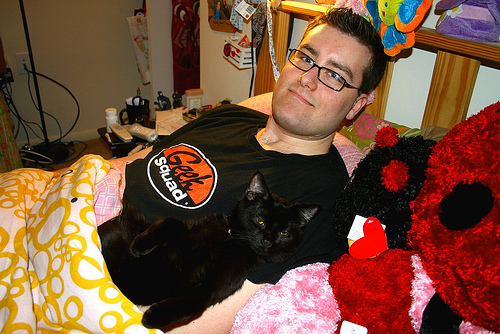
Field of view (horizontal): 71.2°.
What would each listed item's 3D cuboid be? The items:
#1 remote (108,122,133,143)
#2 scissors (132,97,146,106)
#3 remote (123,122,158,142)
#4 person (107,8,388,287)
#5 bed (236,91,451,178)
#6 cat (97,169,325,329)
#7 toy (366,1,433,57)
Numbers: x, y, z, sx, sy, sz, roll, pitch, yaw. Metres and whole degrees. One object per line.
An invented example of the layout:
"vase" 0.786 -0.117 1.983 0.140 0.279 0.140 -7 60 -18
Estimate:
"remote" -0.984 -0.290 2.630 0.094 0.066 0.316 -19 46 -24
"scissors" -0.893 -0.515 2.791 0.061 0.081 0.084 2 -3 -26
"remote" -0.820 -0.279 2.571 0.188 0.107 0.047 13 0 16
"person" 0.155 -0.048 1.649 0.954 0.461 1.274 33 54 26
"bed" 0.533 -0.157 1.699 0.606 0.162 0.547 -23 44 -36
"cat" -0.200 0.412 1.411 1.065 0.412 0.581 -5 45 15
"toy" 0.587 -0.561 1.396 0.047 0.182 0.191 -14 53 -21
